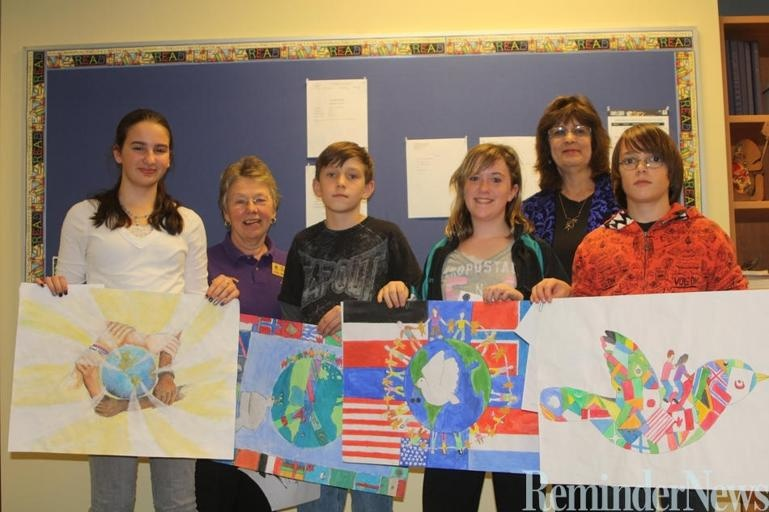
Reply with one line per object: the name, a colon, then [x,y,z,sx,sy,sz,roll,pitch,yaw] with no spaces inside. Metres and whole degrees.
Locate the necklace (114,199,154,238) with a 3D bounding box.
necklace: [-1.267,-0.179,4.463,0.147,0.184,0.054,-1,-15,-15]

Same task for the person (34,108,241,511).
person: [-1.301,0.291,4.435,0.780,1.937,0.433,-3,1,-11]

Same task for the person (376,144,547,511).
person: [0.483,0.352,4.387,0.727,1.385,0.424,-2,1,10]

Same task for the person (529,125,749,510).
person: [1.282,0.302,4.266,0.943,1.265,0.489,-2,1,15]

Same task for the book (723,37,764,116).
book: [2.175,-1.064,5.276,0.411,0.371,0.096,-2,-1,-9]

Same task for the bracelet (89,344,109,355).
bracelet: [-1.407,0.458,4.271,0.065,0.065,0.015,-42,21,25]
